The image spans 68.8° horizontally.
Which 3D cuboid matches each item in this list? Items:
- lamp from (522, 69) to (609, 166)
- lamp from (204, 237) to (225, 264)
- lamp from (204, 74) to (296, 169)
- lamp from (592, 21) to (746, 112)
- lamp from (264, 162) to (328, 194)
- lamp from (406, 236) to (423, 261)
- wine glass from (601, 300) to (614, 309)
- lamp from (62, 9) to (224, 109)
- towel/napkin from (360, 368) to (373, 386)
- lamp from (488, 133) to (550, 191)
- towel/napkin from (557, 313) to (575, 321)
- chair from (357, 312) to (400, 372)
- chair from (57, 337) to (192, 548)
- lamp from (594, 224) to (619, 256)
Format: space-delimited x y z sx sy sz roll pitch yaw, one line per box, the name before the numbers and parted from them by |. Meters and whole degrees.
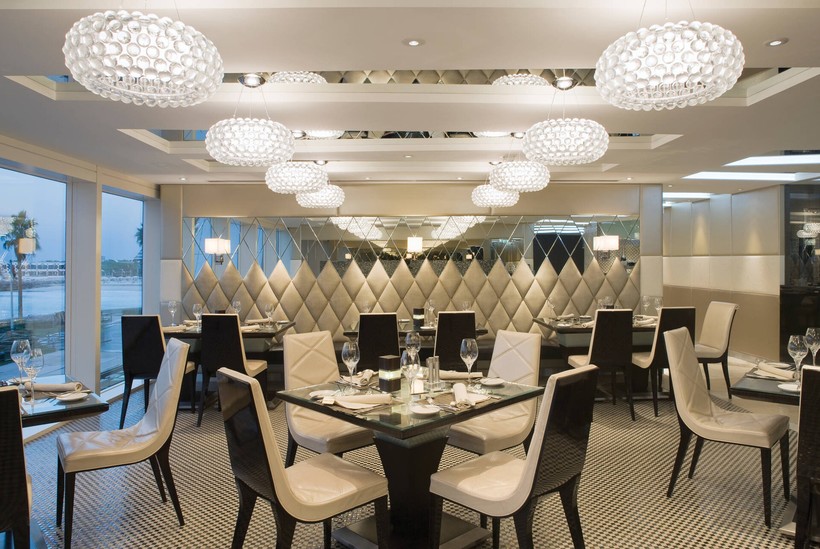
lamp | 1.266 -1.296 5.219 0.715 0.686 0.712 -1 2 -37
lamp | -2.568 -0.330 8.059 0.327 0.359 0.328 -5 9 -38
lamp | -1.289 -1.227 5.077 0.634 0.689 0.670 1 -1 7
lamp | 1.614 -1.317 3.812 0.644 0.261 0.676 -6 -10 38
lamp | -1.157 -1.012 6.174 0.420 0.185 0.442 -1 0 -3
lamp | 0.059 -0.382 8.180 0.230 0.369 0.246 -1 11 -2
wine glass | 2.516 0.358 7.676 0.147 0.151 0.144 -8 10 -44
lamp | -1.605 -1.303 3.660 0.683 0.319 0.711 3 -1 -12
towel/napkin | -0.332 0.787 4.629 0.122 0.054 0.170 0 3 1
lamp | 1.130 -1.127 6.213 0.579 0.257 0.614 1 -1 3
towel/napkin | 1.997 0.536 7.664 0.170 0.067 0.113 1 -1 9
chair | -0.352 0.738 6.696 0.517 1.062 0.554 0 2 -3
chair | -2.159 1.225 4.580 0.896 1.617 0.464 -3 1 -31
lamp | 2.669 -0.503 8.200 0.344 0.451 0.361 -3 1 18
